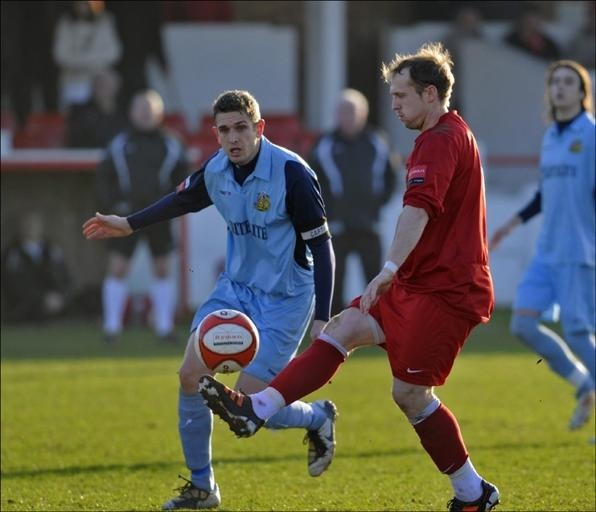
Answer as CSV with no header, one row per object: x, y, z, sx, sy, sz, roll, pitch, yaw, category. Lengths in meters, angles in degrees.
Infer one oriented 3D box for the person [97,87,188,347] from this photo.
-1.986,-0.408,12.790,1.091,3.524,0.983,1,25,-10,person

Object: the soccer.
-0.433,0.545,6.461,0.356,0.395,0.366,2,-14,42,soccer

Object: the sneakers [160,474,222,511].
-0.681,1.614,6.743,0.477,0.320,0.169,3,-17,-9,sneakers

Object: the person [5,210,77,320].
-3.600,0.208,13.703,0.811,1.246,0.410,0,3,-7,person

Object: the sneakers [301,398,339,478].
0.166,1.292,6.992,0.239,0.582,0.186,10,-12,-16,sneakers
